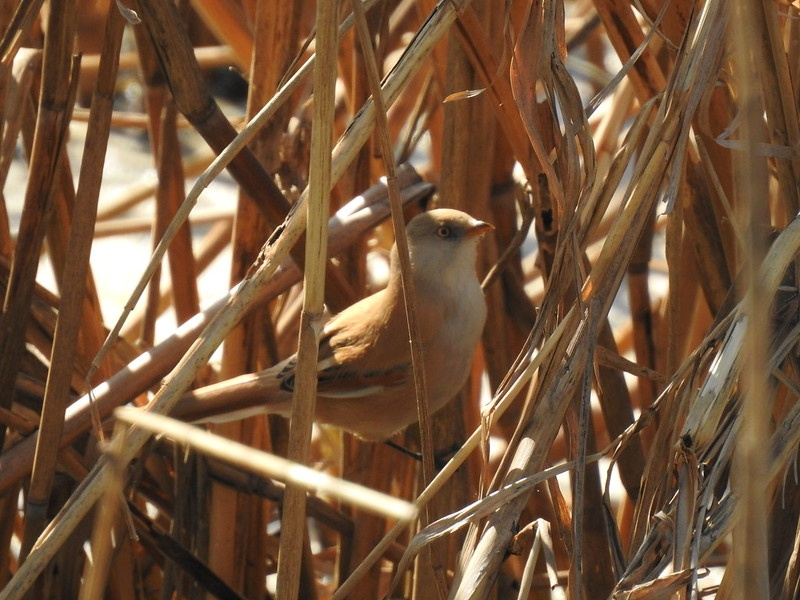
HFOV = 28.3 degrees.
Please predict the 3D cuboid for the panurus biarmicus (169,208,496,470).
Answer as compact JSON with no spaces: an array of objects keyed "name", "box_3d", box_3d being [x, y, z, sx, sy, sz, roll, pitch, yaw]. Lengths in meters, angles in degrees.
[{"name":"panurus biarmicus","box_3d":[-0.073,0.117,4.618,1.066,0.462,0.784,-12,-63,6]}]
